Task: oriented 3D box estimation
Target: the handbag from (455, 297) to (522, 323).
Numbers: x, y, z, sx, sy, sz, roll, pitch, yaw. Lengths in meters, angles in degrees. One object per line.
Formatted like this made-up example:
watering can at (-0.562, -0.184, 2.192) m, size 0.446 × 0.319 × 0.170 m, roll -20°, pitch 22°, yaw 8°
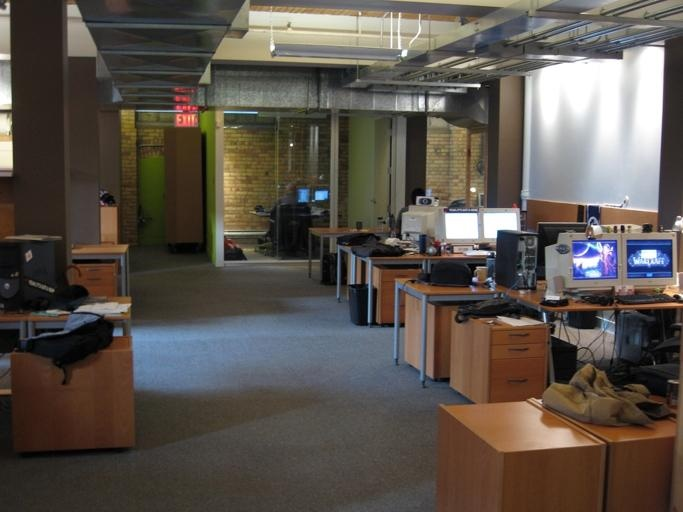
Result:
handbag at (1.347, 0.484, 5.580) m, size 0.399 × 0.122 × 0.289 m, roll -3°, pitch 5°, yaw -10°

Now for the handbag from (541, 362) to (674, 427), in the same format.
handbag at (1.527, 0.811, 3.371) m, size 0.431 × 0.145 × 0.414 m, roll -1°, pitch 2°, yaw -19°

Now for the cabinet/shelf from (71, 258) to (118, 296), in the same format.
cabinet/shelf at (-3.031, 0.257, 7.362) m, size 0.514 × 0.475 × 0.334 m, roll -1°, pitch 3°, yaw -11°

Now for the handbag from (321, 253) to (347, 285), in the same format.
handbag at (-0.204, 0.244, 11.393) m, size 0.618 × 0.649 × 0.450 m, roll 0°, pitch 7°, yaw -6°

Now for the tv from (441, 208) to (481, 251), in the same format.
tv at (1.688, -0.425, 8.695) m, size 0.804 × 0.723 × 0.427 m, roll -1°, pitch 3°, yaw -10°

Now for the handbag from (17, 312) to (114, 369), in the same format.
handbag at (-2.011, 0.614, 4.599) m, size 0.463 × 0.192 × 0.459 m, roll 4°, pitch 12°, yaw 17°

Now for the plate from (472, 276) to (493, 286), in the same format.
plate at (1.503, 0.254, 6.382) m, size 0.221 × 0.073 × 0.201 m, roll 2°, pitch 9°, yaw 13°

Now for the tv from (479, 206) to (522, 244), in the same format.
tv at (2.089, -0.420, 7.974) m, size 0.555 × 0.440 × 0.275 m, roll -1°, pitch 8°, yaw -7°

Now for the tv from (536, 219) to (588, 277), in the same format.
tv at (2.239, -0.070, 6.137) m, size 0.585 × 0.507 × 0.289 m, roll -2°, pitch 10°, yaw -12°

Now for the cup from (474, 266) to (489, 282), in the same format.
cup at (1.505, 0.184, 6.480) m, size 0.190 × 0.174 × 0.121 m, roll -2°, pitch 11°, yaw -6°

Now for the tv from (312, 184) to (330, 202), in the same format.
tv at (-0.489, -1.483, 13.694) m, size 0.416 × 0.377 × 0.208 m, roll 1°, pitch 5°, yaw -19°

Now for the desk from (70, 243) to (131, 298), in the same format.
desk at (-3.161, 0.106, 8.143) m, size 0.901 × 0.806 × 0.785 m, roll -1°, pitch 3°, yaw -8°

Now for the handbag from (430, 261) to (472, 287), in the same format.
handbag at (1.127, 0.185, 6.178) m, size 0.270 × 0.155 × 0.333 m, roll 2°, pitch 6°, yaw 4°

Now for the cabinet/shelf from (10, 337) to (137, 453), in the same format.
cabinet/shelf at (-2.057, 1.005, 4.790) m, size 0.885 × 0.633 × 0.821 m, roll 0°, pitch 3°, yaw -10°
